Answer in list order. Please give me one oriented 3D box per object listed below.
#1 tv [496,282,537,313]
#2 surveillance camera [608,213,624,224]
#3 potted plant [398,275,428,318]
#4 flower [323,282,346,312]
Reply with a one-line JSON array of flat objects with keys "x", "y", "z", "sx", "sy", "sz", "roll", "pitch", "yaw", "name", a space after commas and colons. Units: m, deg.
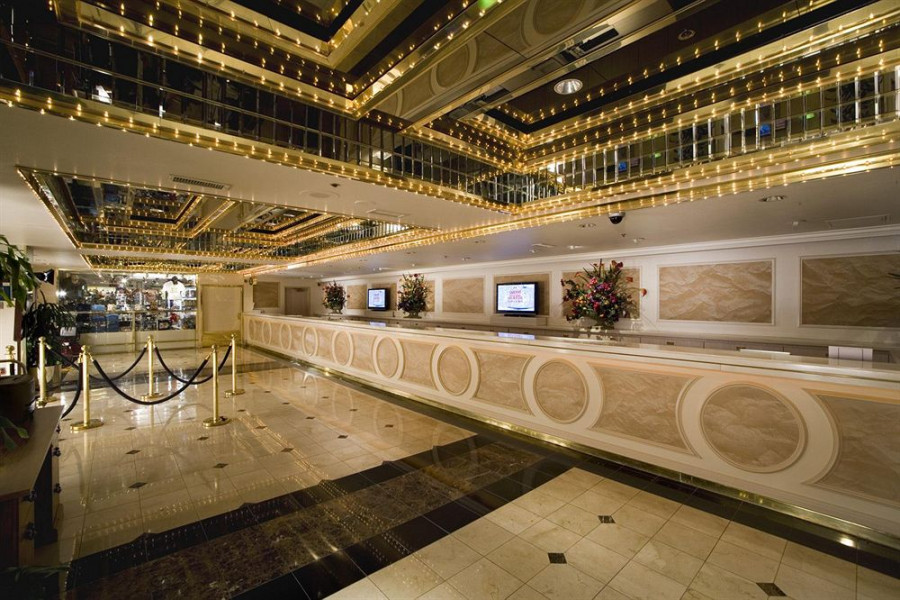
[{"x": 1.540, "y": -0.042, "z": 11.397, "sx": 0.221, "sy": 0.736, "sz": 1.175, "roll": -4, "pitch": 6, "yaw": -35, "name": "tv"}, {"x": 2.285, "y": -1.111, "z": 6.887, "sx": 0.136, "sy": 0.089, "sz": 0.125, "roll": 1, "pitch": -5, "yaw": -2, "name": "surveillance camera"}, {"x": -0.939, "y": -0.096, "z": 13.657, "sx": 0.746, "sy": 1.248, "sz": 2.254, "roll": -1, "pitch": 5, "yaw": -3, "name": "potted plant"}, {"x": -3.443, "y": 0.002, "z": 15.154, "sx": 0.462, "sy": 0.897, "sz": 1.629, "roll": -2, "pitch": 5, "yaw": -16, "name": "flower"}]
